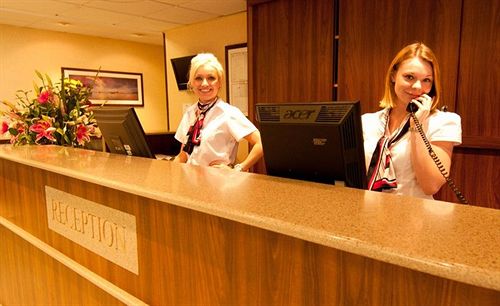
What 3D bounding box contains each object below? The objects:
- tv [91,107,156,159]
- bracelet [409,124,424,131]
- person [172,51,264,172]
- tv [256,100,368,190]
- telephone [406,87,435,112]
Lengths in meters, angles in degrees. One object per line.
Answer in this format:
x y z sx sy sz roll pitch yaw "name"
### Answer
-1.056 -0.177 2.930 0.627 0.408 0.200 7 14 43 "tv"
1.227 -0.186 2.599 0.094 0.058 0.093 2 -12 0 "bracelet"
-0.381 -0.402 3.419 0.542 1.117 0.946 -12 14 -42 "person"
0.386 -0.042 2.199 0.578 0.538 0.224 1 15 27 "tv"
1.291 -0.408 2.634 0.254 0.195 0.078 -7 11 -21 "telephone"
